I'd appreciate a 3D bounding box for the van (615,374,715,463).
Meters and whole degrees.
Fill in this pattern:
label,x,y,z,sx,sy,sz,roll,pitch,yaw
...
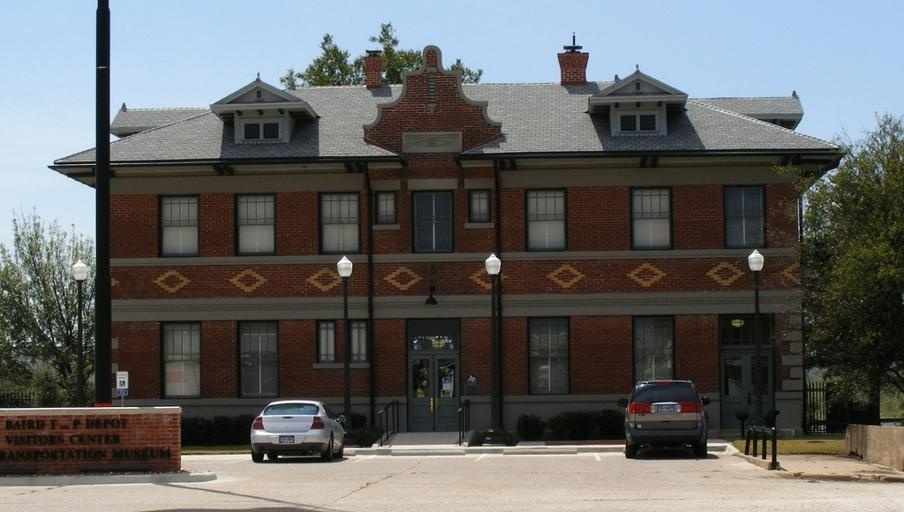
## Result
label,x,y,z,sx,sy,sz,roll,pitch,yaw
van,8.511,6.217,67.886,2.697,2.721,4.143,-2,-7,16

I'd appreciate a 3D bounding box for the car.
label,x,y,z,sx,sy,sz,roll,pitch,yaw
car,-6.167,6.684,67.511,3.392,2.417,1.876,0,-10,-11
